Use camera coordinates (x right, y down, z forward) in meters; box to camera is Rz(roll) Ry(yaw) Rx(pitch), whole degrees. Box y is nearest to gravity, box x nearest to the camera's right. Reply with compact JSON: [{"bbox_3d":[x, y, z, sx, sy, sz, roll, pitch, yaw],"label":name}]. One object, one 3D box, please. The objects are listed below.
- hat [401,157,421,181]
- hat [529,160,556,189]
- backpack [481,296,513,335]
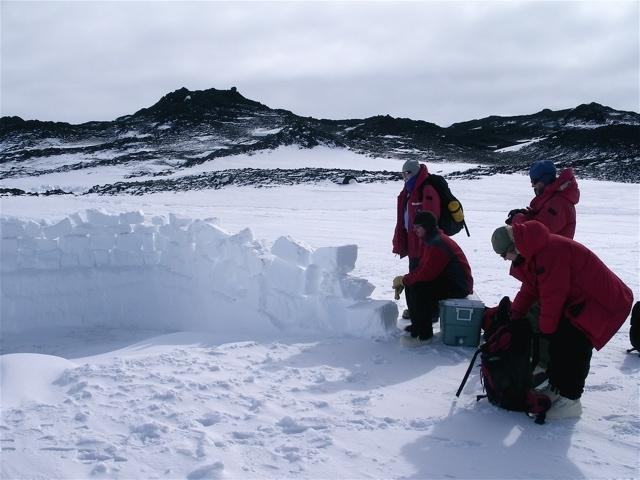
[{"bbox_3d":[1.983,-1.556,24.800,0.556,0.401,0.350,3,2,-9],"label":"hat"},{"bbox_3d":[4.704,-1.428,23.731,0.667,0.511,0.490,12,7,30],"label":"hat"},{"bbox_3d":[3.606,1.605,23.262,0.397,1.017,0.437,33,-3,16],"label":"backpack"}]
